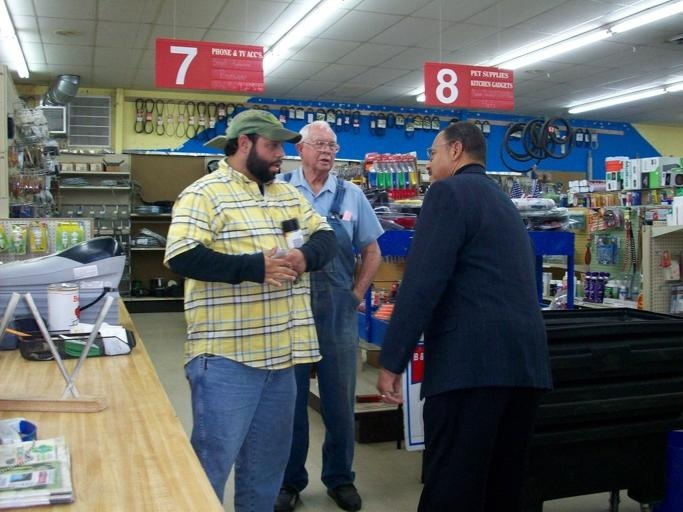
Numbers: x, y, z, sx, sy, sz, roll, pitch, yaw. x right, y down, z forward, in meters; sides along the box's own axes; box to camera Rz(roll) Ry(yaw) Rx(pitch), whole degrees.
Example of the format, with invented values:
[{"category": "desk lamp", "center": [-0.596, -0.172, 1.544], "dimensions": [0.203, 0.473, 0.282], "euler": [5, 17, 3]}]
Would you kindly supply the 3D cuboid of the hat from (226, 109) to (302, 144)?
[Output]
[{"category": "hat", "center": [-0.314, -0.510, 2.388], "dimensions": [0.244, 0.102, 0.152], "euler": [-1, 8, -4]}]
